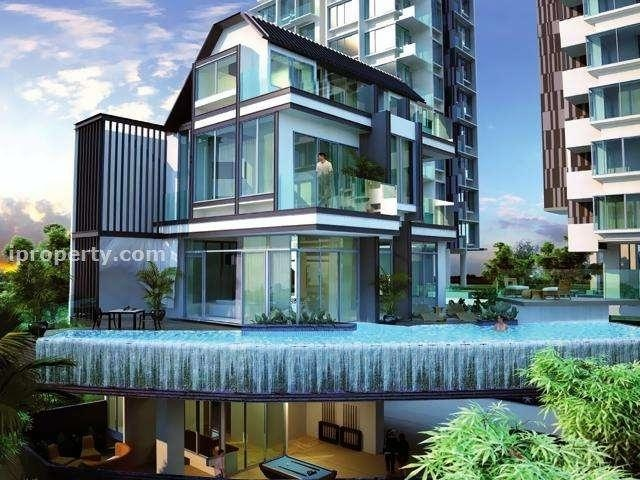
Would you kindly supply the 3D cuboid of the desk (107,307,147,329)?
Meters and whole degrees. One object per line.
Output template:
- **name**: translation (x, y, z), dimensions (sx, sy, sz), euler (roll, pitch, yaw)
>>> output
- **desk**: translation (-7.834, 3.237, 23.113), dimensions (1.308, 0.896, 1.740), euler (0, -2, 13)

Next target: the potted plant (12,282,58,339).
- **potted plant**: translation (-11.436, 2.709, 23.323), dimensions (1.207, 1.833, 1.211), euler (-9, -10, 27)

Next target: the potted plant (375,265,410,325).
- **potted plant**: translation (3.155, 2.581, 25.517), dimensions (1.087, 2.167, 1.825), euler (-3, -4, 25)

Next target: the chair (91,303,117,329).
- **chair**: translation (-8.932, 3.162, 23.614), dimensions (0.859, 1.189, 0.829), euler (-1, -2, 14)

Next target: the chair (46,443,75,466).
- **chair**: translation (-10.210, 8.402, 22.586), dimensions (0.908, 0.562, 1.564), euler (3, -5, -43)

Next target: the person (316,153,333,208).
- **person**: translation (0.158, -2.276, 22.082), dimensions (0.512, 2.116, 0.796), euler (-3, -4, 26)

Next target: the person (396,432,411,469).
- **person**: translation (3.071, 7.877, 21.415), dimensions (0.385, 1.320, 0.791), euler (-1, -4, 6)

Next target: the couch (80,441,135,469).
- **couch**: translation (-7.955, 8.018, 21.795), dimensions (1.630, 1.245, 1.219), euler (22, -32, -35)

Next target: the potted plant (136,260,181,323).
- **potted plant**: translation (-7.244, 2.165, 25.588), dimensions (2.306, 3.203, 2.355), euler (5, -8, -28)

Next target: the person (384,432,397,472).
- **person**: translation (2.610, 7.838, 21.262), dimensions (0.438, 1.444, 0.647), euler (-3, -4, 26)
